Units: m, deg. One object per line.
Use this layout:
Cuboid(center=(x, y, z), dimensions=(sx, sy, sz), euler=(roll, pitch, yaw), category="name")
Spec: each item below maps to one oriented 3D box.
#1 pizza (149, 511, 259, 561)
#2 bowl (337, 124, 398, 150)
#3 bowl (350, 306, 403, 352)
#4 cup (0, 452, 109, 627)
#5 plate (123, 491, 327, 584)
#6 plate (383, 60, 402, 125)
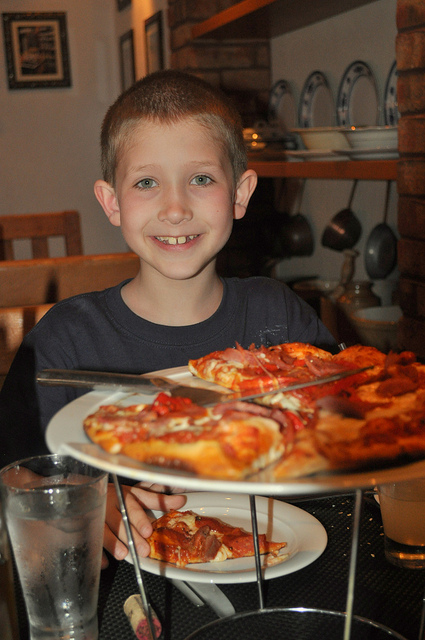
Cuboid(center=(-0.018, 0.204, 0.514), dimensions=(0.084, 0.014, 0.052), euler=(1, 7, 11), category="pizza")
Cuboid(center=(0.370, -0.419, 1.211), dimensions=(0.102, 0.025, 0.099), euler=(0, 10, 0), category="bowl")
Cuboid(center=(0.442, 0.014, 1.413), dimensions=(0.171, 0.120, 0.168), euler=(-1, 8, 0), category="bowl")
Cuboid(center=(-0.132, 0.182, 0.447), dimensions=(0.081, 0.135, 0.148), euler=(-6, 8, -20), category="cup")
Cuboid(center=(0.005, 0.217, 0.537), dimensions=(0.223, 0.029, 0.222), euler=(0, 2, -16), category="plate")
Cuboid(center=(0.465, -0.587, 1.361), dimensions=(0.040, 0.178, 0.223), euler=(0, 8, 18), category="plate")
